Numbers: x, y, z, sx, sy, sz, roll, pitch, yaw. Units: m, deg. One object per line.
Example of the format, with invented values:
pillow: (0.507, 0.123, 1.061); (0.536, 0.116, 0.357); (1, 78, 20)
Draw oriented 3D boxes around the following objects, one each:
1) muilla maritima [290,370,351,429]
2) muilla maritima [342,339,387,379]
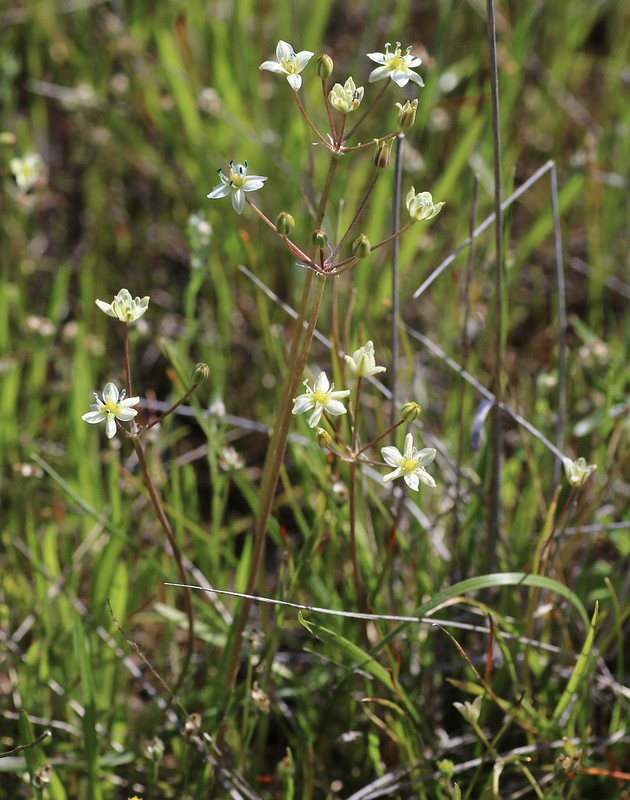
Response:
muilla maritima: (0.008, -0.001, 1.048); (0.068, 0.031, 0.075); (28, 97, 12)
muilla maritima: (0.061, -0.062, 1.042); (0.046, 0.045, 0.045); (15, 104, 52)
